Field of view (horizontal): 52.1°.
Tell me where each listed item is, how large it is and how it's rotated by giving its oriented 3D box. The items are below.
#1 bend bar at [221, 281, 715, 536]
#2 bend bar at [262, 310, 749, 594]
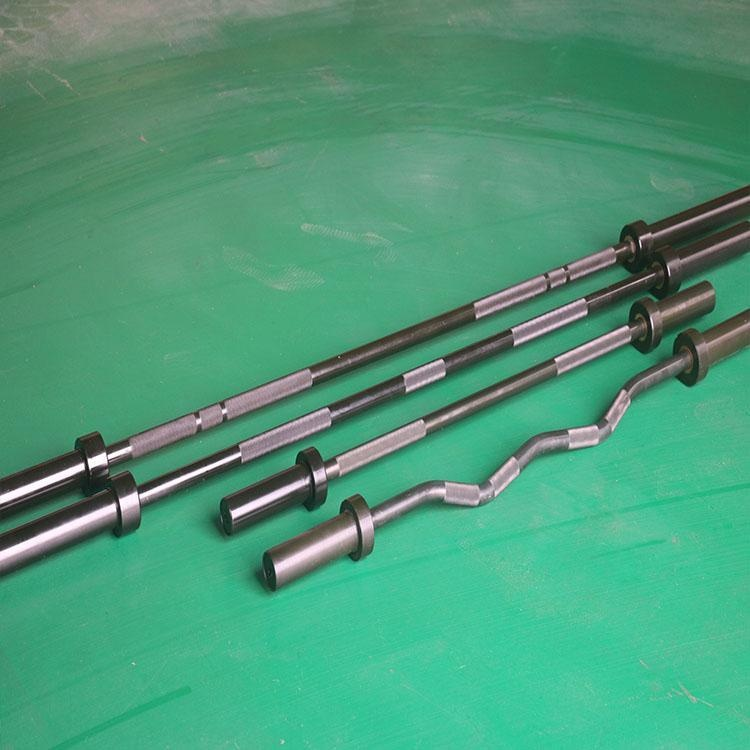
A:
[{"bbox_3d":[0.298,0.127,2.379,1.935,0.185,0.179,-18,53,-12],"label":"bend bar"},{"bbox_3d":[0.393,0.252,2.280,2.090,0.199,0.267,-16,53,-18],"label":"bend bar"}]
